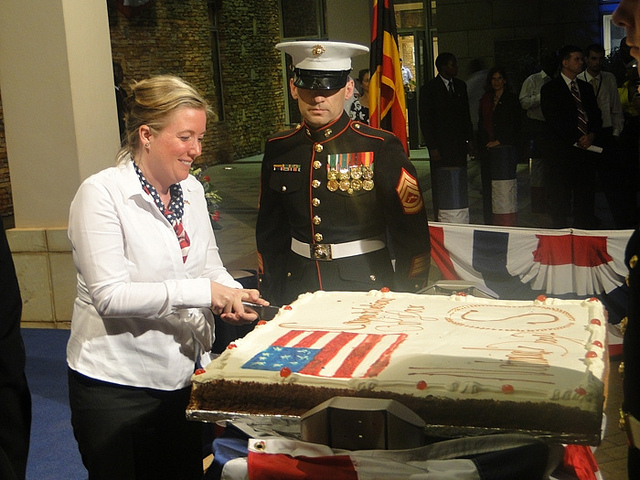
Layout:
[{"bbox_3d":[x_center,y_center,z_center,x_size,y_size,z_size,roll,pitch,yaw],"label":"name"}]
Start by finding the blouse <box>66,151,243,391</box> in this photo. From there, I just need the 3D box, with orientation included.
[{"bbox_3d":[-0.748,0.142,2.557,0.947,1.042,0.819,2,2,19],"label":"blouse"}]

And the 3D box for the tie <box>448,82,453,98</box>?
[{"bbox_3d":[1.766,-2.034,7.284,0.045,0.189,0.017,-2,9,3],"label":"tie"}]

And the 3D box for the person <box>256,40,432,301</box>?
[{"bbox_3d":[0.090,-0.372,3.056,1.024,1.483,0.478,0,10,11],"label":"person"}]

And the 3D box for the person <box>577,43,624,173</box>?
[{"bbox_3d":[3.369,-1.580,6.483,0.548,1.486,0.219,-6,10,-22],"label":"person"}]

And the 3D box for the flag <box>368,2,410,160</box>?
[{"bbox_3d":[0.536,-1.284,4.281,0.303,1.182,0.511,-1,9,5],"label":"flag"}]

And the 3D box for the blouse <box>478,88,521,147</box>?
[{"bbox_3d":[2.428,-1.627,7.270,0.611,0.794,0.433,3,2,33],"label":"blouse"}]

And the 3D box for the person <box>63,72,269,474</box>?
[{"bbox_3d":[-0.681,0.180,2.242,0.750,1.705,0.463,-7,10,-26],"label":"person"}]
